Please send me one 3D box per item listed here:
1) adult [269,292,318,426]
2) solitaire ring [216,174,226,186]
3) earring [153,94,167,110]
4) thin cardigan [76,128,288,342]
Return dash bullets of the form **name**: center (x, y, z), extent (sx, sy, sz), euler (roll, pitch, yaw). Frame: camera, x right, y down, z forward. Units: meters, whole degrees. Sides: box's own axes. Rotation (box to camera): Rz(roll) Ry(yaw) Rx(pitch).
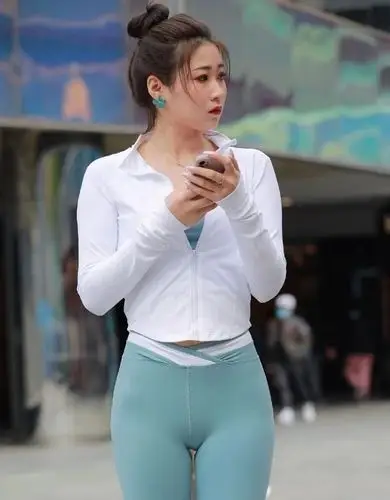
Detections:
- **adult**: center (0.967, 1.118, 9.120), extent (0.494, 1.346, 0.447), euler (-2, 9, 9)
- **solitaire ring**: center (0.080, -0.218, 2.771), extent (0.018, 0.031, 0.029), euler (25, -9, -12)
- **earring**: center (-0.127, -0.504, 3.001), extent (0.045, 0.040, 0.015), euler (3, 9, 19)
- **thin cardigan**: center (-0.040, -0.066, 2.998), extent (0.754, 0.661, 0.420), euler (-1, 7, -13)
